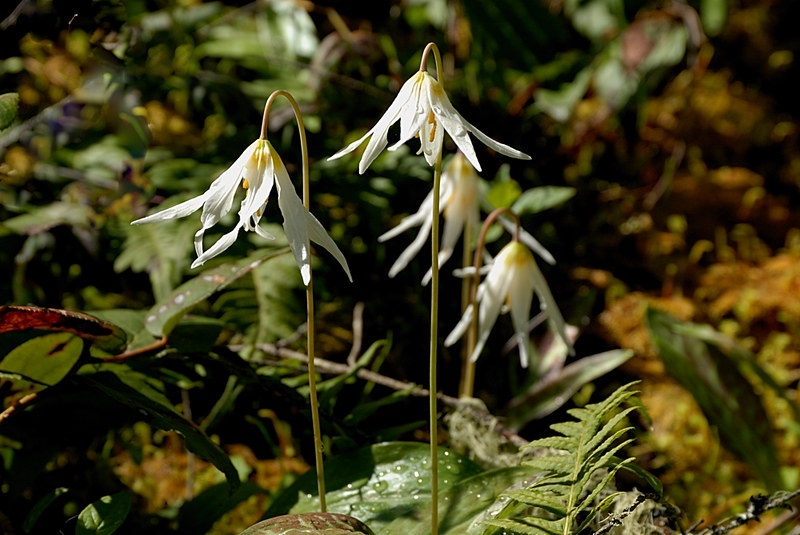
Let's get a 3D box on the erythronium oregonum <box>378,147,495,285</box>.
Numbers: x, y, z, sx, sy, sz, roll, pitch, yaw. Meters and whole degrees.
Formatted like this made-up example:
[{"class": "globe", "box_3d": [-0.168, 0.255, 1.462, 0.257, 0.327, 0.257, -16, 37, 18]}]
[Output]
[{"class": "erythronium oregonum", "box_3d": [0.165, -0.202, 3.342, 0.390, 0.534, 0.188, 14, -4, -7]}]
